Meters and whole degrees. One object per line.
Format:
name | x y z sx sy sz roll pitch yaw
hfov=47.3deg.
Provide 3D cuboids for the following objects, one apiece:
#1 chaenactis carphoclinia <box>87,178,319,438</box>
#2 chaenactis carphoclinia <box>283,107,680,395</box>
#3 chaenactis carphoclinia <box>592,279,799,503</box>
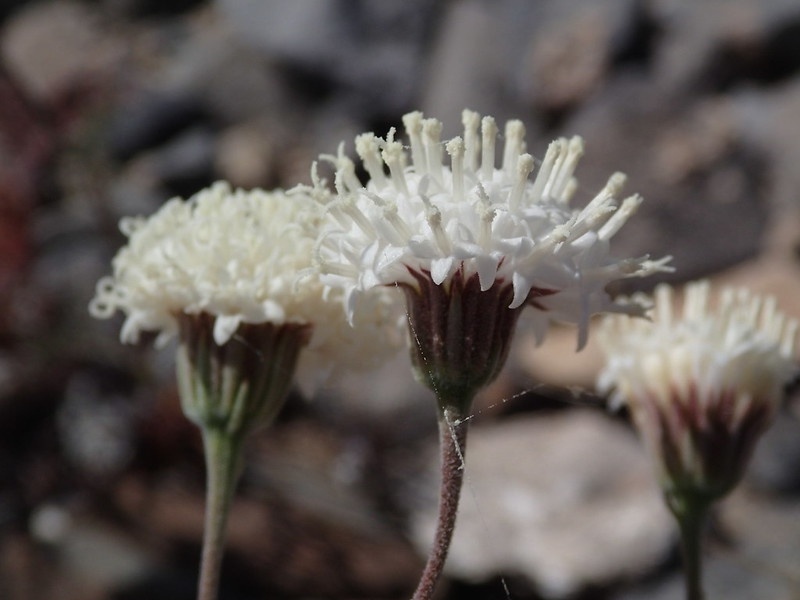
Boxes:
chaenactis carphoclinia | -0.122 0.024 0.666 0.149 0.161 0.170 -5 80 0
chaenactis carphoclinia | 0.049 -0.020 0.631 0.201 0.187 0.168 7 77 -1
chaenactis carphoclinia | 0.196 0.073 0.660 0.129 0.141 0.150 -6 74 14
